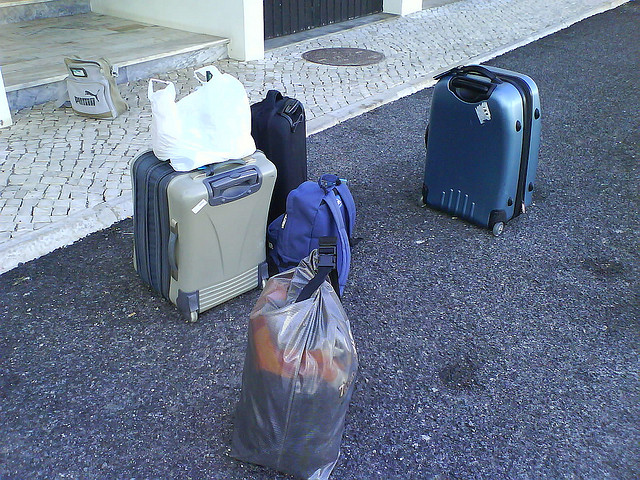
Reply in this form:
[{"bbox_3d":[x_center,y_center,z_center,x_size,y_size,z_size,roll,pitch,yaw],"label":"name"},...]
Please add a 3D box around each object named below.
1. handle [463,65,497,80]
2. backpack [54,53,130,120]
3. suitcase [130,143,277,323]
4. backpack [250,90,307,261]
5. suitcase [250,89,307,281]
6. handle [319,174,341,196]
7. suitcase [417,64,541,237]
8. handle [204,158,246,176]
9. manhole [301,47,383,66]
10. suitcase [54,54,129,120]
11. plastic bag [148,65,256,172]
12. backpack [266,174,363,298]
[{"bbox_3d":[1.145,-1.215,3.351,0.152,0.040,0.152,28,21,33],"label":"handle"},{"bbox_3d":[-2.620,-1.764,5.341,0.682,0.684,0.389,13,33,11],"label":"backpack"},{"bbox_3d":[-0.775,-0.130,3.073,0.832,1.124,0.763,-17,37,-34],"label":"suitcase"},{"bbox_3d":[-0.370,-0.443,3.183,0.425,0.965,0.394,26,34,24],"label":"backpack"},{"bbox_3d":[-0.330,-0.372,3.232,0.484,1.145,0.433,26,33,22],"label":"suitcase"},{"bbox_3d":[0.054,-0.317,2.795,0.058,0.135,0.099,7,2,-13],"label":"handle"},{"bbox_3d":[1.230,-0.727,3.616,0.782,1.168,0.501,24,42,35],"label":"suitcase"},{"bbox_3d":[-0.549,-0.423,2.676,0.185,0.071,0.111,-26,25,-23],"label":"handle"},{"bbox_3d":[0.348,-2.925,7.430,1.246,0.080,1.030,0,34,6],"label":"manhole"},{"bbox_3d":[-2.672,-1.744,5.413,0.890,0.838,0.470,9,40,5],"label":"suitcase"},{"bbox_3d":[-0.671,-0.728,2.719,0.601,0.553,0.367,-23,40,-31],"label":"plastic bag"},{"bbox_3d":[-0.060,-0.036,2.967,0.582,0.764,0.434,9,36,18],"label":"backpack"}]
